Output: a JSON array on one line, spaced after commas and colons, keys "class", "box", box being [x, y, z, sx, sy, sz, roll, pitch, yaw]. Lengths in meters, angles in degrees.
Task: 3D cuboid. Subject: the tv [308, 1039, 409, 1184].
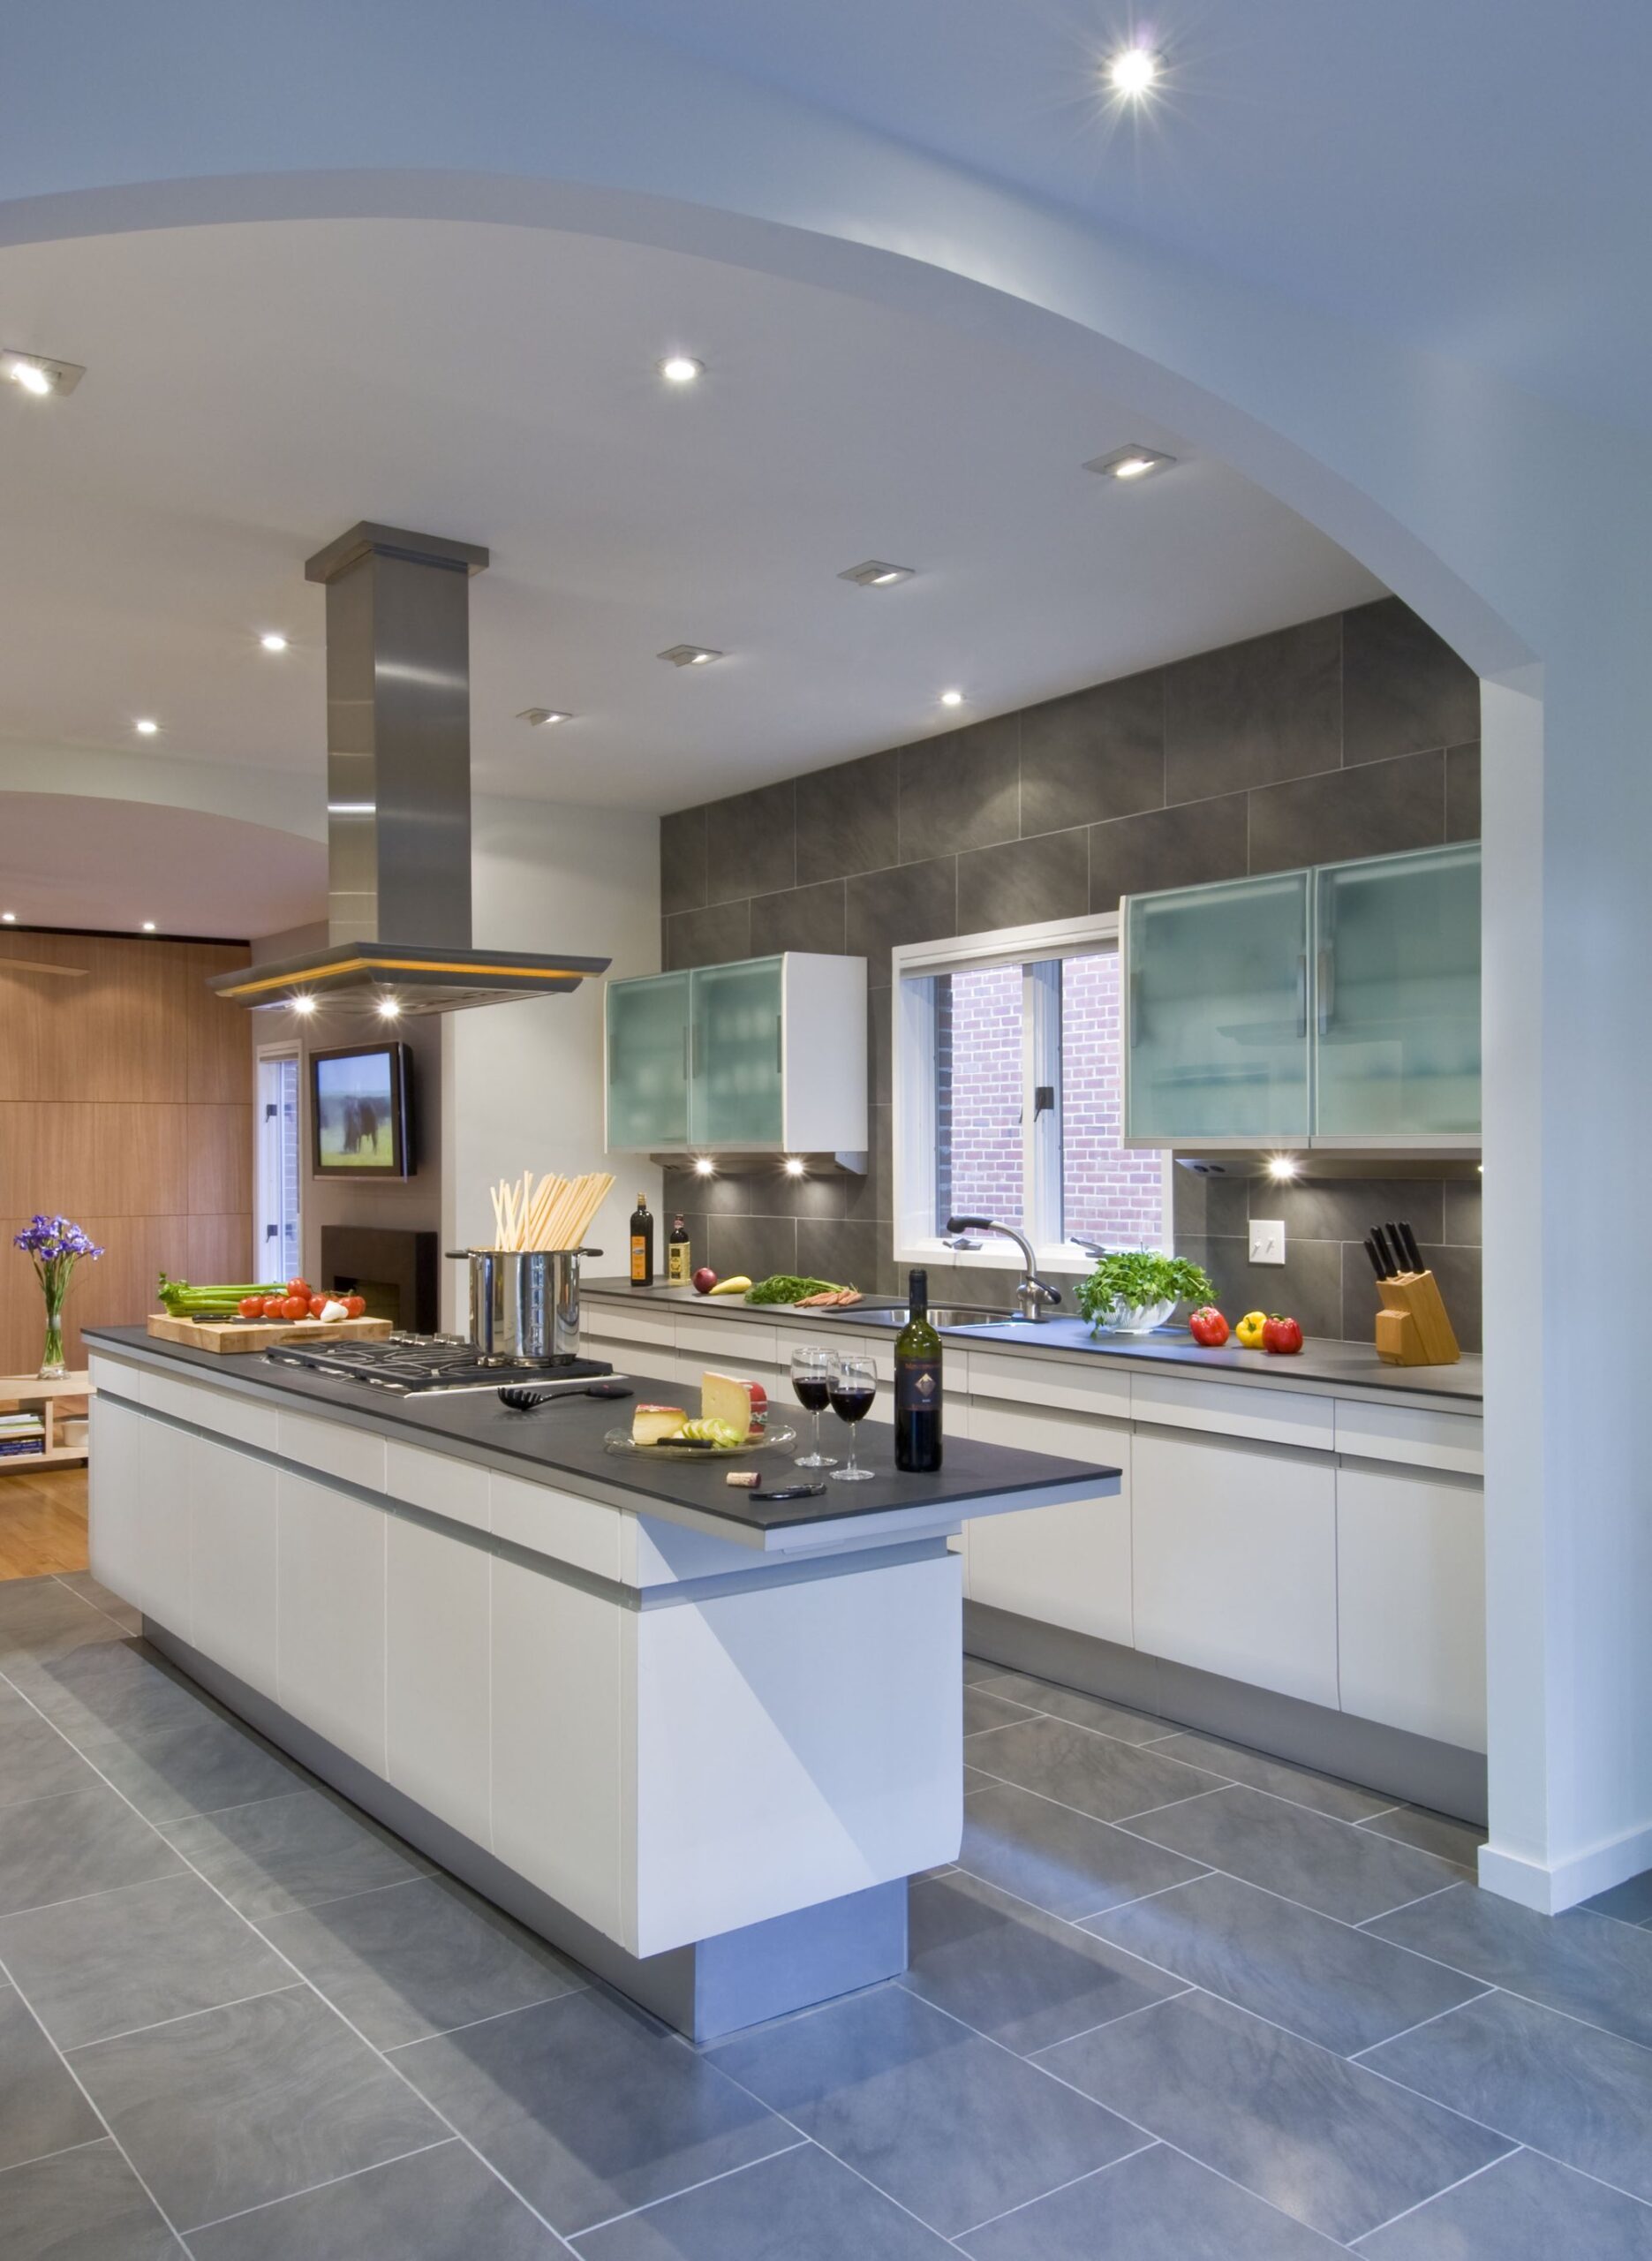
[{"class": "tv", "box": [-1.893, -0.077, 6.967, 0.195, 0.538, 1.136, 1, -3, -26]}]

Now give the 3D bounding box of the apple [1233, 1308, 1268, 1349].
[{"class": "apple", "box": [0.976, 0.448, 3.916, 0.071, 0.073, 0.089, -11, -14, 24]}]

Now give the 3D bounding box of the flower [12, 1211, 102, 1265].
[{"class": "flower", "box": [-3.577, 0.492, 7.921, 0.248, 0.181, 0.248, 11, -12, -34]}]

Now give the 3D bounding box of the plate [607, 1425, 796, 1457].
[{"class": "plate", "box": [-0.179, 0.455, 2.523, 0.265, 0.040, 0.168, 0, -2, -8]}]

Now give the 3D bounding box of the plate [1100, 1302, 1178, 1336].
[{"class": "plate", "box": [0.746, 0.462, 4.190, 0.120, 0.079, 0.122, -4, -6, 29]}]

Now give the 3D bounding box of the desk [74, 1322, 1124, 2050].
[{"class": "desk", "box": [-0.659, 0.824, 3.302, 0.803, 0.867, 2.353, -3, 5, -41]}]

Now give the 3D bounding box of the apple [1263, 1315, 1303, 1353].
[{"class": "apple", "box": [1.019, 0.455, 3.809, 0.070, 0.085, 0.070, 1, -8, -7]}]

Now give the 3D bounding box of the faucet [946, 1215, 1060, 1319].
[{"class": "faucet", "box": [0.477, 0.372, 4.780, 0.341, 0.381, 0.230, 3, -6, -16]}]

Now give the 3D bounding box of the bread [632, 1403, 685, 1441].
[{"class": "bread", "box": [-0.243, 0.418, 2.507, 0.058, 0.040, 0.058, 1, -4, -3]}]

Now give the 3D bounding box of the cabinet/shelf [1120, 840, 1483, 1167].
[{"class": "cabinet/shelf", "box": [1.034, -0.286, 3.844, 1.002, 0.588, 0.321, -4, 8, -12]}]

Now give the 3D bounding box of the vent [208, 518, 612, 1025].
[{"class": "vent", "box": [-0.938, -0.779, 3.782, 0.520, 0.975, 0.686, 2, -3, -37]}]
